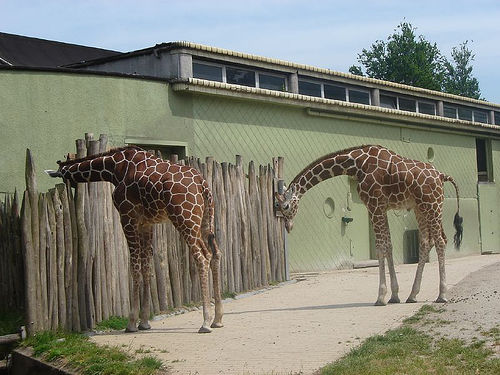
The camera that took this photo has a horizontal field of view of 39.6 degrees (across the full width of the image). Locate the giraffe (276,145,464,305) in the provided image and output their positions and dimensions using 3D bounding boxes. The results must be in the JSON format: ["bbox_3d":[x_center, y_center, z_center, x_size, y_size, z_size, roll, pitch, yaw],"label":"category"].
[{"bbox_3d":[2.217,0.648,12.524,2.528,2.854,1.009,-4,-4,20],"label":"giraffe"}]
